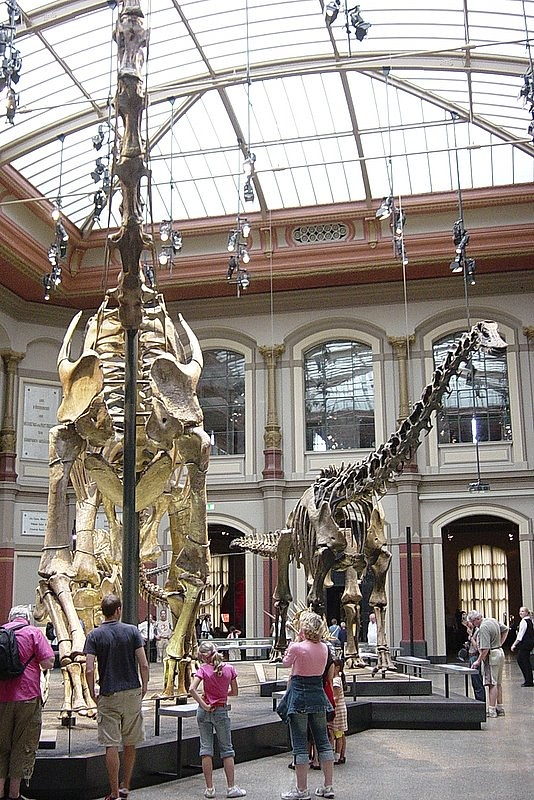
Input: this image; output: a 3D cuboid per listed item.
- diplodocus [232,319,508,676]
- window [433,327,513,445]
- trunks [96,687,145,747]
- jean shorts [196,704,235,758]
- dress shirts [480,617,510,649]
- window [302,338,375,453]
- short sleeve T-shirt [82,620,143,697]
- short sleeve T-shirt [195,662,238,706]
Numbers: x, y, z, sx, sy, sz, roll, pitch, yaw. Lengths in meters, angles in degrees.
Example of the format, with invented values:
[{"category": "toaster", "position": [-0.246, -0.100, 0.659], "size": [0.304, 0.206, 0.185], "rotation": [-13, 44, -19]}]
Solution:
[{"category": "diplodocus", "position": [0.759, 1.657, 9.784], "size": [0.921, 2.957, 4.383], "rotation": [15, -24, -32]}, {"category": "window", "position": [4.900, -0.370, 19.546], "size": [1.655, 3.279, 0.158], "rotation": [-4, -34, 15]}, {"category": "trunks", "position": [-0.731, 1.542, 4.070], "size": [0.253, 0.344, 0.186], "rotation": [1, 7, -23]}, {"category": "jean shorts", "position": [-0.299, 1.892, 4.648], "size": [0.180, 0.420, 0.132], "rotation": [-1, 12, 9]}, {"category": "dress shirts", "position": [2.328, 2.415, 8.491], "size": [0.268, 0.304, 0.577], "rotation": [-4, -12, 17]}, {"category": "window", "position": [1.772, -0.066, 20.190], "size": [1.769, 0.112, 3.342], "rotation": [-3, -57, 3]}, {"category": "short sleeve T-shirt", "position": [-0.768, 1.284, 4.087], "size": [0.295, 0.342, 0.187], "rotation": [3, -12, -15]}, {"category": "short sleeve T-shirt", "position": [-0.294, 1.690, 4.694], "size": [0.309, 0.314, 0.181], "rotation": [4, -24, -7]}]
